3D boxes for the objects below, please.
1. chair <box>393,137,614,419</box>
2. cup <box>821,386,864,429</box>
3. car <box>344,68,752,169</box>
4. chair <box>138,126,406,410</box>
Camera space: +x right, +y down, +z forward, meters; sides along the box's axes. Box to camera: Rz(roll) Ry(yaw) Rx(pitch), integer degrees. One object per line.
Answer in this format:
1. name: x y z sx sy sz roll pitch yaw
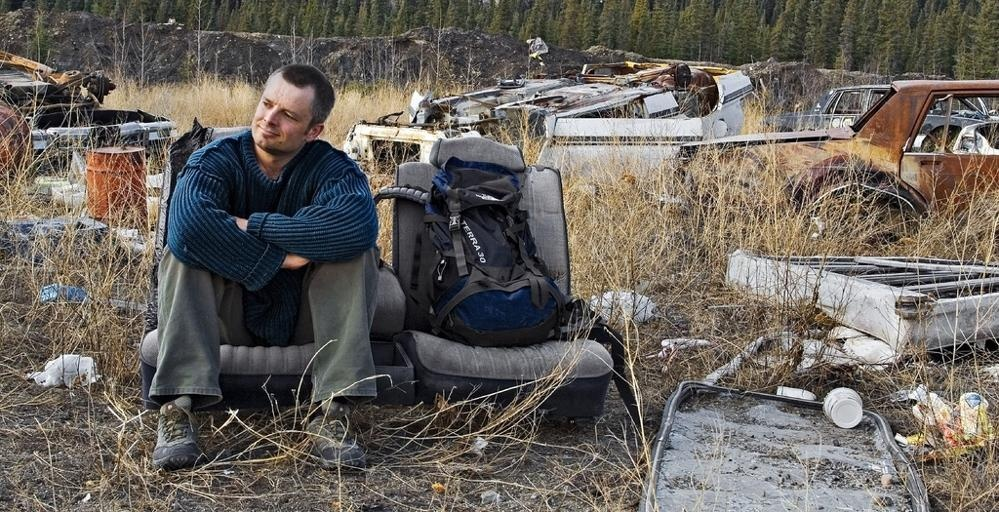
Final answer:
1. chair: -0.005 0.065 7.839 2.189 2.679 2.506 -3 8 -14
2. cup: 3.049 1.339 7.183 0.330 0.323 0.310 -14 1 0
3. car: 1.248 -2.009 11.085 4.536 1.307 2.652 -10 17 -31
4. chair: -1.932 0.018 6.977 1.810 2.204 1.682 2 5 -7
